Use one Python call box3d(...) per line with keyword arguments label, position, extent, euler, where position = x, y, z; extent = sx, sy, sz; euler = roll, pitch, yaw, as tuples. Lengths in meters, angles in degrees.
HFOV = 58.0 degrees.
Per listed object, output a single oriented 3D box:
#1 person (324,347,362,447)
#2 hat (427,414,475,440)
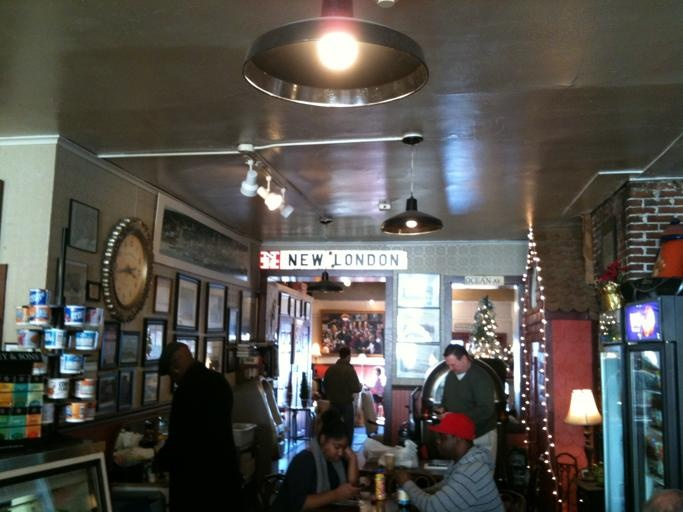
box3d(label="person", position=(0.017, 2.453, 10.291), extent=(0.652, 1.855, 0.603), euler=(1, 0, 23))
box3d(label="hat", position=(0.876, 1.314, 4.807), extent=(0.295, 0.164, 0.214), euler=(3, -13, 13))
